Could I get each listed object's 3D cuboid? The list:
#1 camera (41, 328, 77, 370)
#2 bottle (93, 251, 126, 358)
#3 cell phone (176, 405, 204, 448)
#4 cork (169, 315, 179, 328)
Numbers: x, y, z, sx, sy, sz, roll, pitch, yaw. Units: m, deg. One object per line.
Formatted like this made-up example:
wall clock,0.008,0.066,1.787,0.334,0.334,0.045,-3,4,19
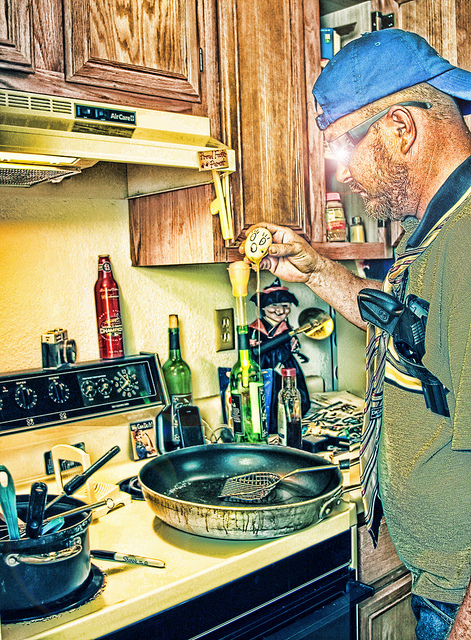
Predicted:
camera,-0.395,0.063,1.326,0.064,0.085,0.113,1,3,1
bottle,-0.315,-0.033,1.418,0.064,0.245,0.050,-4,6,-2
cell phone,-0.111,0.248,1.412,0.051,0.094,0.098,-9,-15,-12
cork,-0.158,0.002,1.491,0.021,0.031,0.030,-4,6,-9
